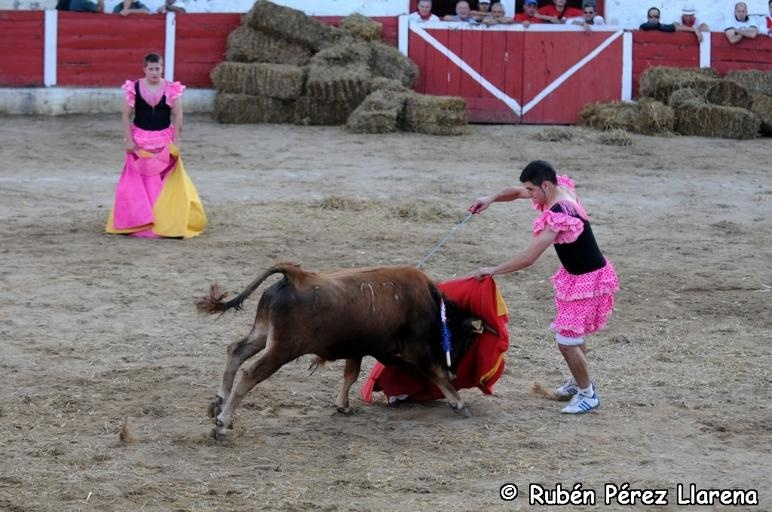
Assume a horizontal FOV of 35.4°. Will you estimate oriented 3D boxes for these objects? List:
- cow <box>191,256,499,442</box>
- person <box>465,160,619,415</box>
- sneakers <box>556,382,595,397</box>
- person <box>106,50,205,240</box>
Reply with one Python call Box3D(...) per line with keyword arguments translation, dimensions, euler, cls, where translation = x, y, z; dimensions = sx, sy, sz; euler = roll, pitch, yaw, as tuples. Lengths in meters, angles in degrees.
Box3D(translation=(-0.293, 0.664, 9.456), dimensions=(2.510, 1.189, 0.679), euler=(1, 8, -31), cls="cow")
Box3D(translation=(1.386, 0.241, 9.516), dimensions=(0.850, 1.973, 0.360), euler=(4, 10, 8), cls="person")
Box3D(translation=(1.482, 1.071, 9.662), dimensions=(0.368, 0.138, 0.111), euler=(1, 35, 5), cls="sneakers")
Box3D(translation=(-2.287, -0.986, 11.977), dimensions=(0.932, 1.576, 0.308), euler=(1, 10, -11), cls="person")
